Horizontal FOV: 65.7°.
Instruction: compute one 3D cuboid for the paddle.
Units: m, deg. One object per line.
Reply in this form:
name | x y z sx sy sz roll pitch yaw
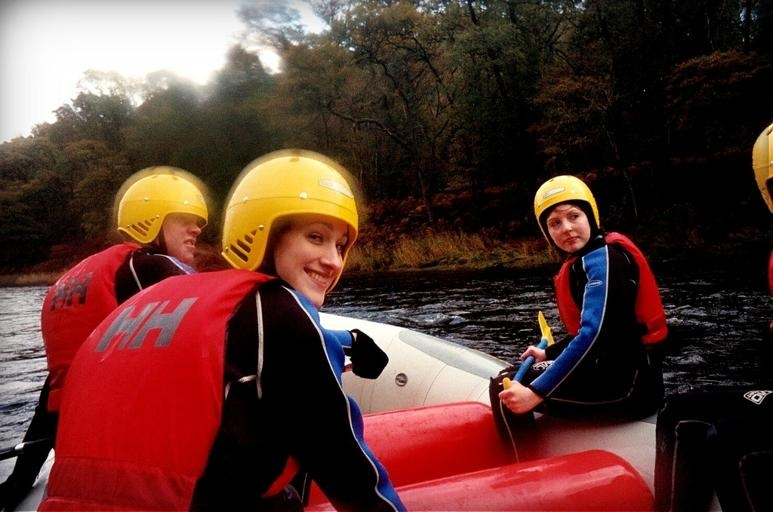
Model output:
paddle | 1.505 0.901 6.125 0.160 0.397 1.088 -46 -8 25
